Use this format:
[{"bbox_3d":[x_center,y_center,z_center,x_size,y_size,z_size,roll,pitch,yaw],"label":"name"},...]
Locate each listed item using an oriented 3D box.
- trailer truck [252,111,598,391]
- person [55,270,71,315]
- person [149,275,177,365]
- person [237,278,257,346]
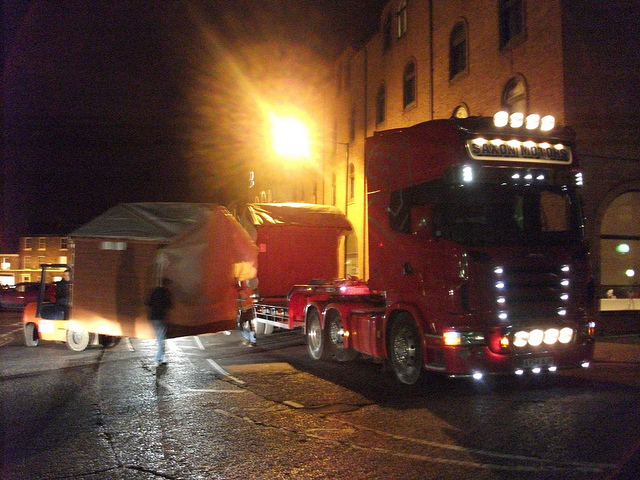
[{"bbox_3d":[1.994,0.477,11.534,2.737,3.561,8.158,1,-3,-26],"label":"trailer truck"},{"bbox_3d":[-6.868,1.375,13.572,0.321,1.146,0.961,1,-3,-29],"label":"person"},{"bbox_3d":[-3.512,1.742,11.124,0.467,1.771,0.787,0,-2,-7],"label":"person"},{"bbox_3d":[-2.165,2.097,14.923,0.492,1.491,1.171,4,-4,3],"label":"person"}]
